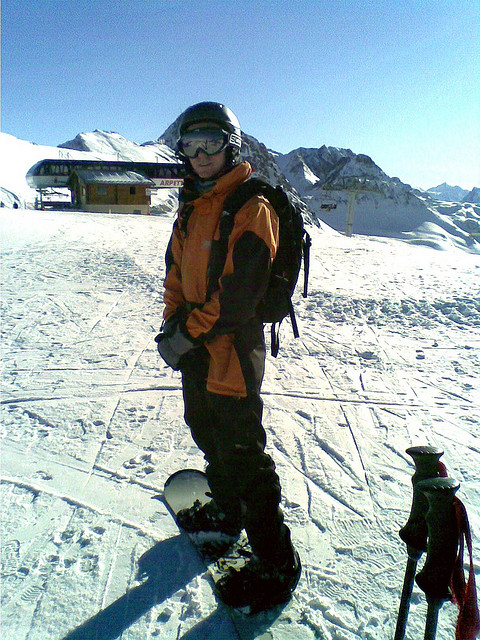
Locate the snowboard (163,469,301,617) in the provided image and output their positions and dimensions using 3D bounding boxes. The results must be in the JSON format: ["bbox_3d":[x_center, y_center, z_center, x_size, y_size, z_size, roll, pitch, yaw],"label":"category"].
[{"bbox_3d":[-0.137,1.277,2.834,0.365,0.220,1.288,-13,33,-25],"label":"snowboard"}]

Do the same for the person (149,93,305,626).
[{"bbox_3d":[-0.067,0.166,2.515,0.643,2.506,0.994,-5,15,-30],"label":"person"}]

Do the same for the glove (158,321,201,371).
[{"bbox_3d":[-0.287,0.124,2.396,0.121,0.207,0.167,15,38,-24],"label":"glove"}]

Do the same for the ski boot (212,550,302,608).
[{"bbox_3d":[0.085,1.301,2.487,0.444,0.299,0.252,4,13,4],"label":"ski boot"}]
